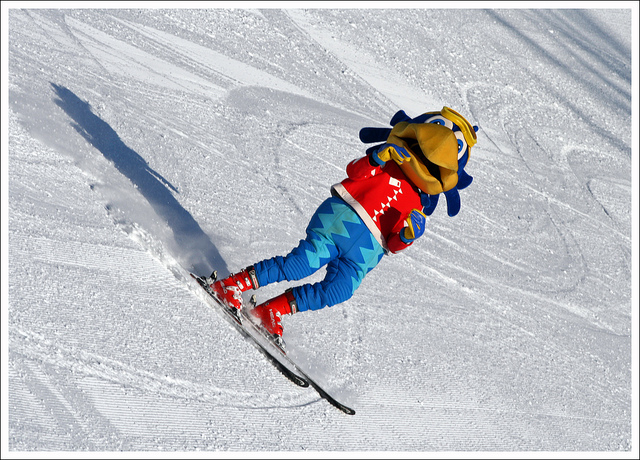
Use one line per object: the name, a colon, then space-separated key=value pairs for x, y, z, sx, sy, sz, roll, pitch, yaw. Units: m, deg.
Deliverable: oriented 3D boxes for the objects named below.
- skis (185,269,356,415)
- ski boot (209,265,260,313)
skis: x=-0.561 y=1.137 z=8.498 sx=1.947 sy=0.249 sz=0.139 roll=42 pitch=80 yaw=-2
ski boot: x=-0.844 y=0.555 z=8.351 sx=0.385 sy=0.385 sz=0.364 roll=-31 pitch=73 yaw=-34
